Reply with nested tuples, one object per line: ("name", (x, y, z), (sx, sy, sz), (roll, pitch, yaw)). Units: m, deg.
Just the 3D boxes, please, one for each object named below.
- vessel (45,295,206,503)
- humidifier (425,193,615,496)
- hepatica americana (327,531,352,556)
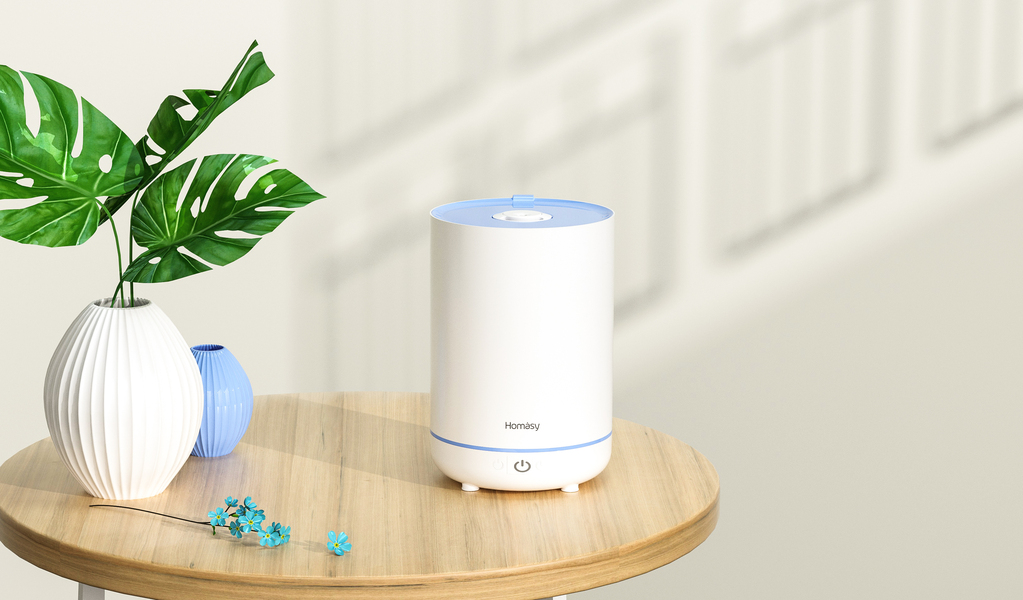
("vessel", (-0.534, 0.145, 1.450), (0.207, 0.256, 0.243), (-10, 19, -32))
("humidifier", (0.012, 0.072, 1.424), (0.211, 0.426, 0.217), (2, 4, 1))
("hepatica americana", (-0.224, 0.316, 1.279), (0.033, 0.022, 0.022), (6, 16, 28))
